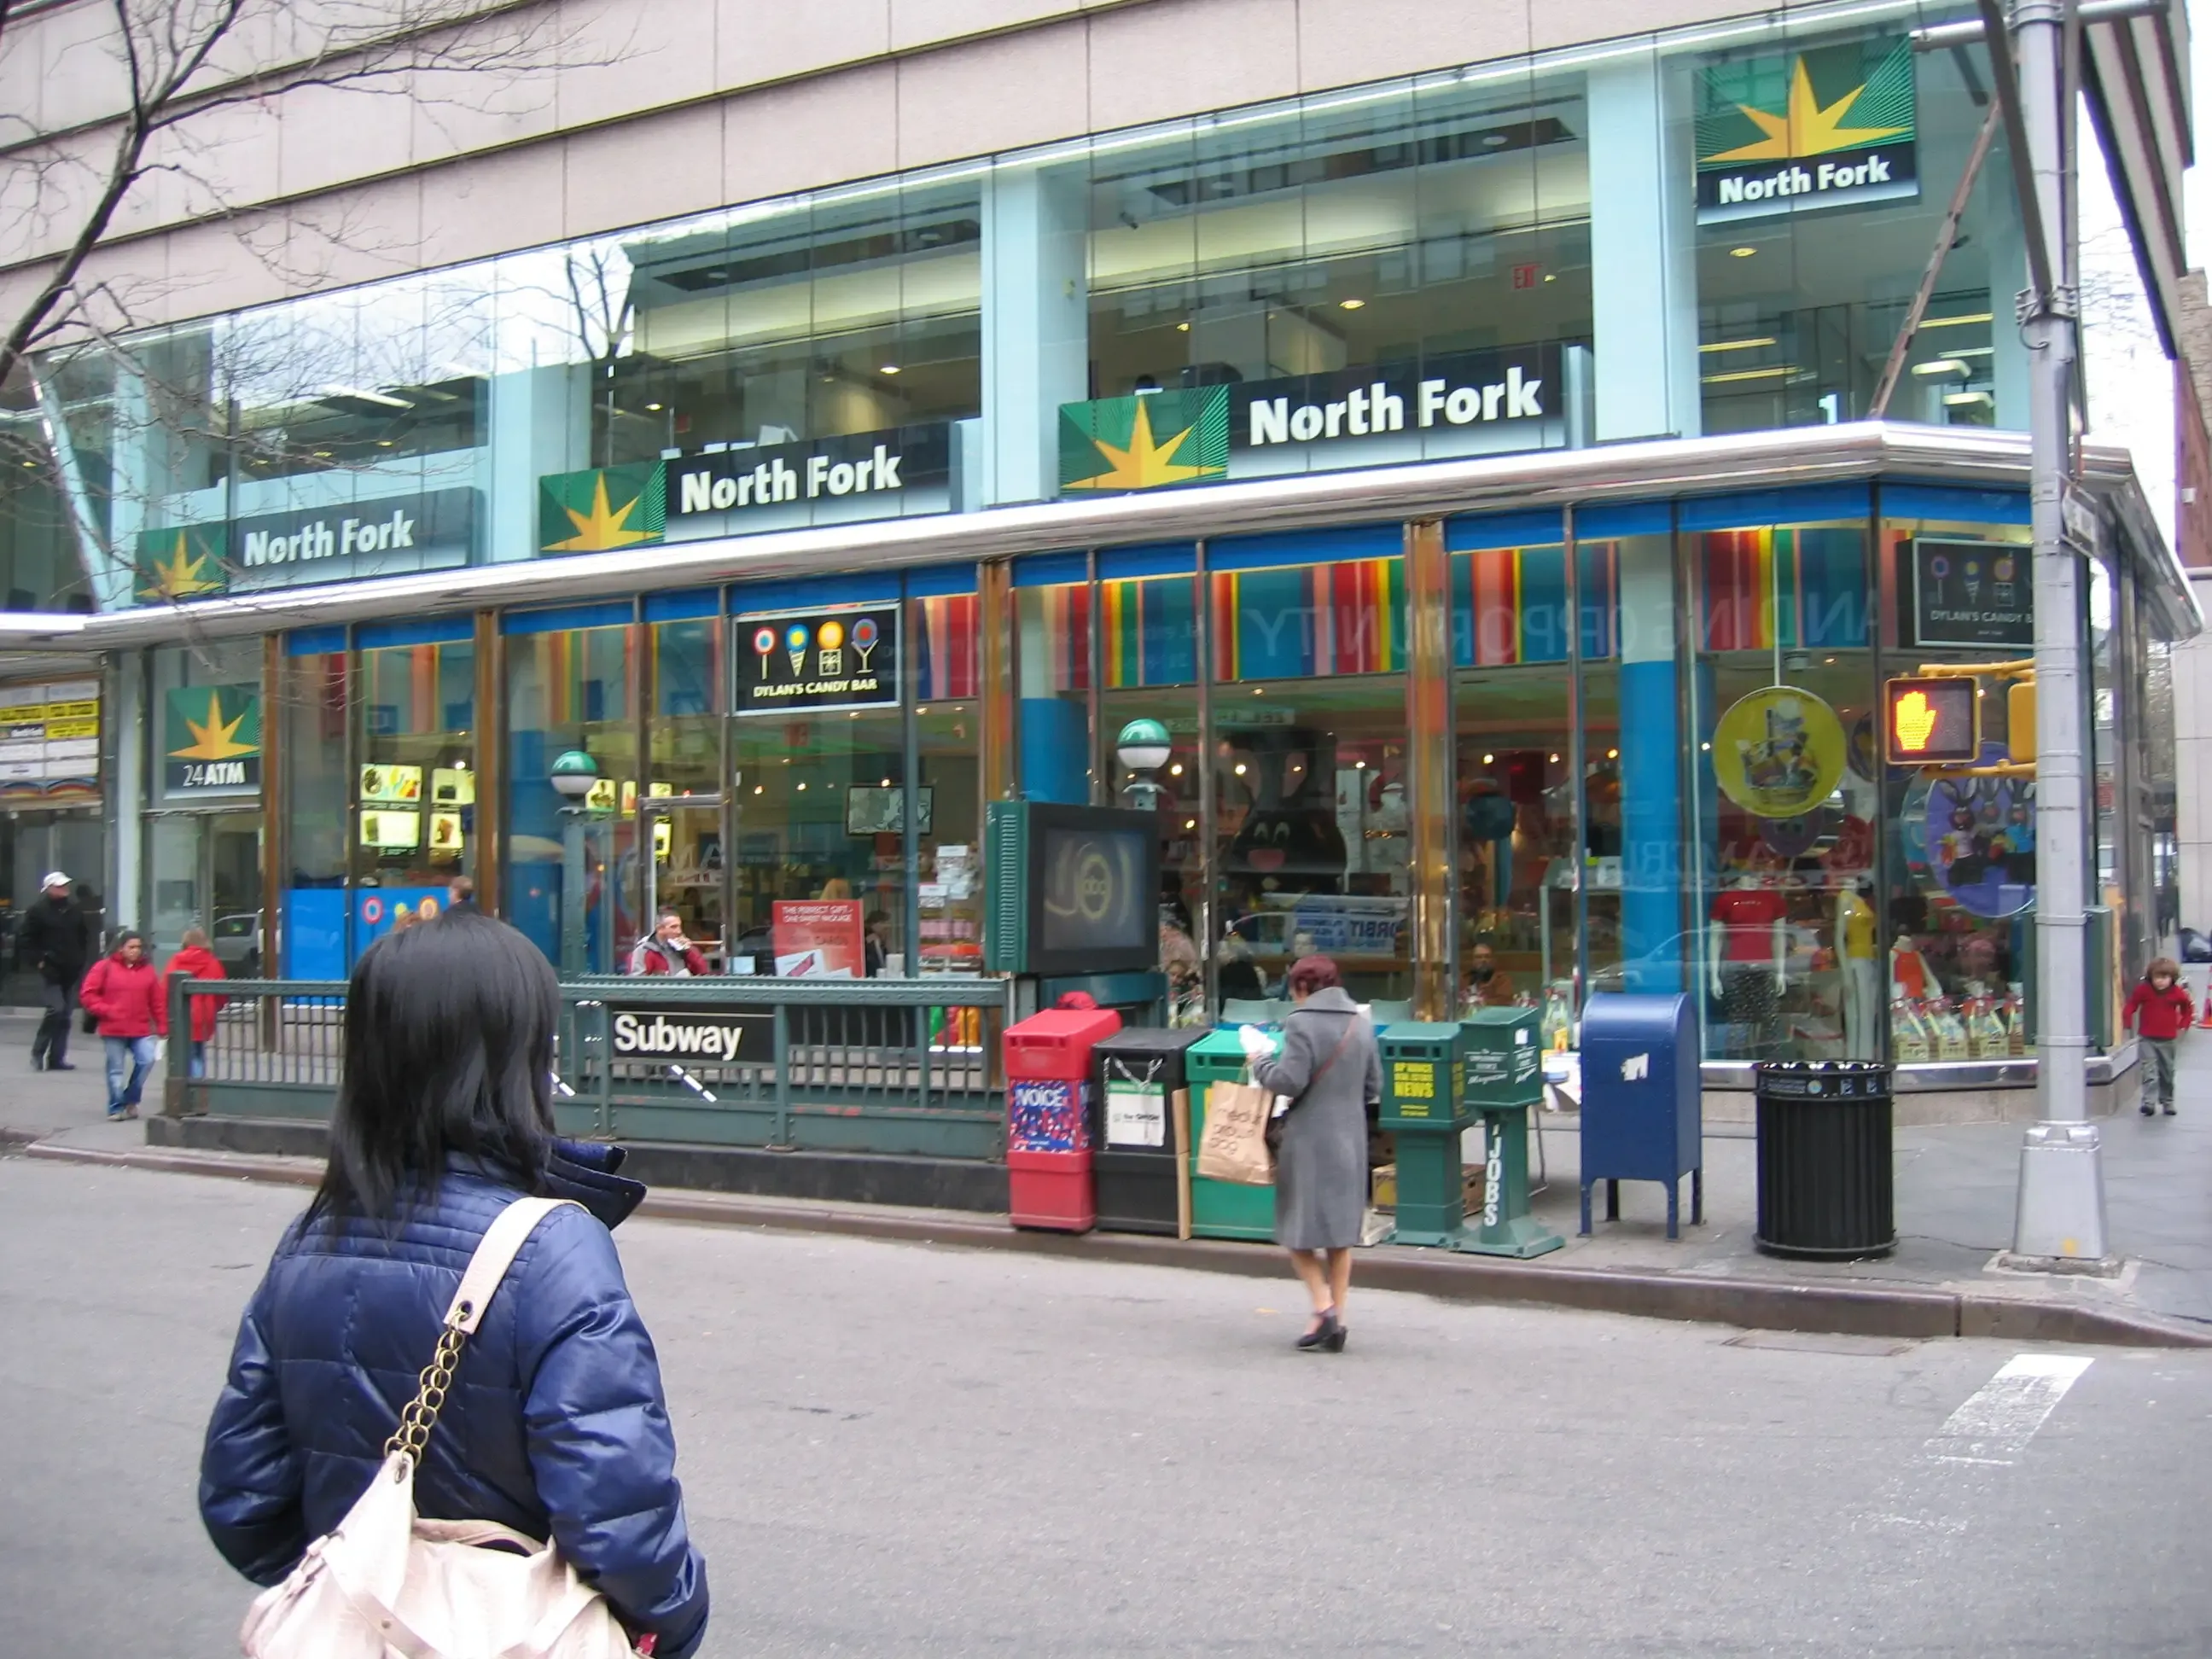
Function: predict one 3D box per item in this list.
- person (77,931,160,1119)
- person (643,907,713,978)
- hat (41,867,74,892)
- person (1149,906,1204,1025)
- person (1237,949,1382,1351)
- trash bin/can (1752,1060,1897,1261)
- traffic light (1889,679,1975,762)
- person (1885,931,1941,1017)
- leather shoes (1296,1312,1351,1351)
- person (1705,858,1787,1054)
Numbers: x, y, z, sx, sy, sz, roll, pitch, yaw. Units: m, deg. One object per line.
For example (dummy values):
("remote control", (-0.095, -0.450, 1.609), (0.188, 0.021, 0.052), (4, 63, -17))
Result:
("person", (-9.447, 1.879, 22.339), (0.684, 1.829, 1.270), (-4, 10, -24))
("person", (-4.242, 1.130, 23.154), (0.437, 0.831, 0.604), (-6, -2, 22))
("hat", (-12.849, 0.599, 28.479), (0.349, 0.137, 0.276), (-7, -1, 34))
("person", (0.746, 1.308, 22.678), (0.378, 1.118, 0.583), (1, 9, 4))
("person", (1.205, 1.848, 13.429), (0.623, 2.098, 0.940), (1, 9, 4))
("trash bin/can", (4.544, 2.088, 14.644), (0.869, 1.215, 0.426), (2, 9, 11))
("traffic light", (7.241, -0.972, 20.371), (0.717, 0.745, 0.709), (0, -5, 19))
("person", (7.061, 1.289, 20.400), (0.331, 0.868, 0.613), (-9, 5, -10))
("leather shoes", (1.238, 2.860, 13.157), (0.139, 0.163, 0.328), (0, -6, -9))
("person", (5.708, 1.178, 20.656), (0.688, 1.568, 0.328), (3, 9, 16))
